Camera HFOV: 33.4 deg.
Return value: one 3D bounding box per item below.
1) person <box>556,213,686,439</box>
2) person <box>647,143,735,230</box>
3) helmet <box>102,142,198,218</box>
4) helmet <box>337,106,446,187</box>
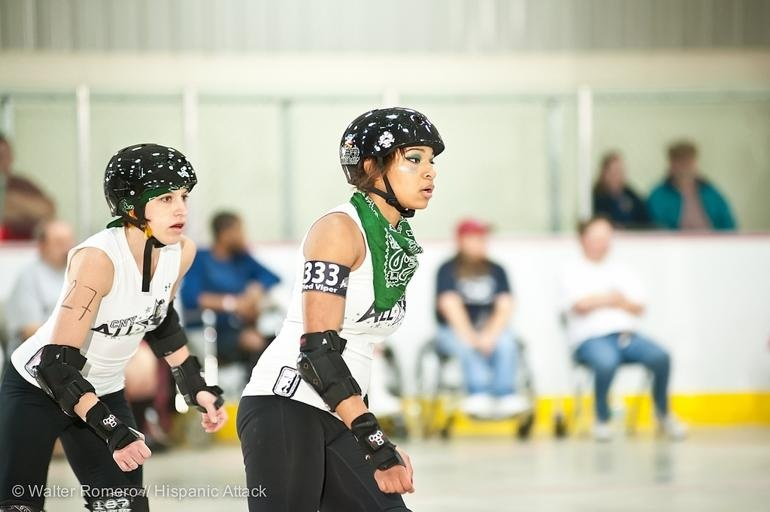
[{"bbox_3d":[2.108,0.631,11.669,0.887,1.969,0.745,-2,5,7],"label":"person"},{"bbox_3d":[2.834,-0.680,11.785,0.617,0.848,0.408,-8,6,-25],"label":"person"},{"bbox_3d":[-1.617,-0.508,8.952,0.528,0.474,0.490,-2,0,15],"label":"helmet"},{"bbox_3d":[0.042,-0.756,8.692,0.556,0.509,0.491,-5,-5,18],"label":"helmet"}]
